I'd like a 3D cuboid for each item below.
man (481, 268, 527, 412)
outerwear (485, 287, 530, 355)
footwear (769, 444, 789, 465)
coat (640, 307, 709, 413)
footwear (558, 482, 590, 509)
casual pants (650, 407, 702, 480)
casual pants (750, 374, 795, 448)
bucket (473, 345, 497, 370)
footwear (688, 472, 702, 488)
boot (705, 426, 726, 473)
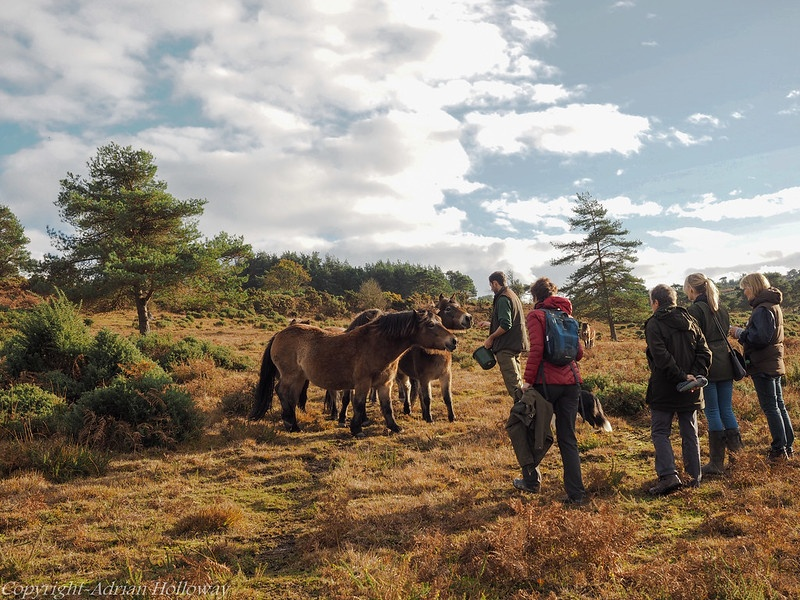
[{"bbox_3d":[2.010,0.888,12.107,0.909,2.808,0.864,-3,-2,21],"label":"man"},{"bbox_3d":[1.835,0.440,11.925,0.991,1.532,1.462,1,0,17],"label":"outerwear"},{"bbox_3d":[6.406,2.599,10.727,0.486,0.320,0.163,-1,-8,13],"label":"footwear"},{"bbox_3d":[4.424,0.945,10.217,0.988,1.687,0.552,-6,-6,12],"label":"coat"},{"bbox_3d":[2.750,3.068,9.951,0.374,0.280,0.259,-12,5,4],"label":"footwear"},{"bbox_3d":[4.425,2.035,10.208,0.736,0.591,2.311,-7,-49,22],"label":"casual pants"},{"bbox_3d":[6.360,1.916,10.834,0.578,1.324,0.310,-2,-6,-26],"label":"casual pants"},{"bbox_3d":[1.551,1.031,11.479,0.418,0.331,0.426,-36,-12,-8],"label":"bucket"},{"bbox_3d":[4.795,2.921,10.312,0.266,0.257,0.161,1,-19,-3],"label":"footwear"},{"bbox_3d":[5.308,2.565,10.759,0.423,0.708,0.200,-5,-6,4],"label":"boot"}]
